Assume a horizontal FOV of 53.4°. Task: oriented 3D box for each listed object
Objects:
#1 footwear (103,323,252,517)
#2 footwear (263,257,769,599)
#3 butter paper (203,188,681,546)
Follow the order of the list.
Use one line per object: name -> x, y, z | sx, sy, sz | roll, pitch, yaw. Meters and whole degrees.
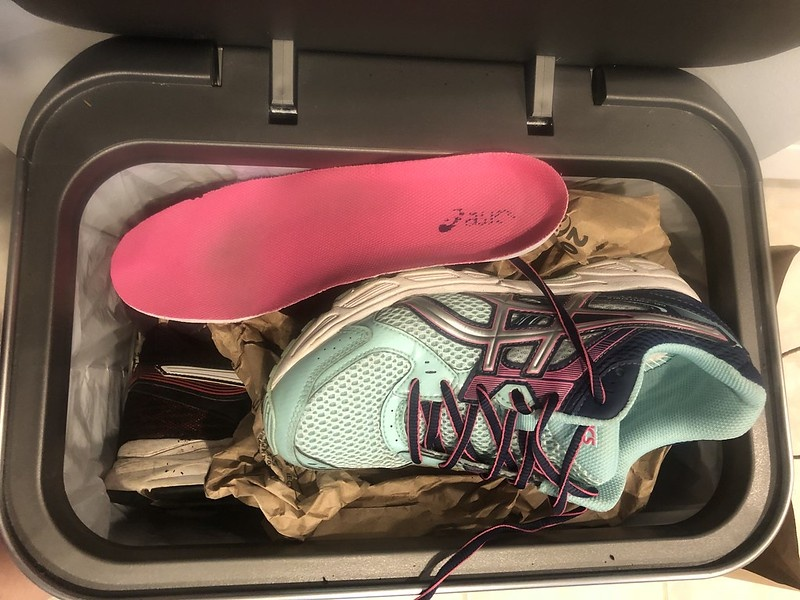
footwear -> -0.318, 0.175, 1.257 | 0.175, 0.129, 0.348 | 12, 82, 35
footwear -> 0.162, 0.153, 1.248 | 0.939, 0.330, 0.383 | -7, 34, -4
butter paper -> 0.065, 0.191, 1.391 | 0.722, 0.204, 0.439 | -8, 94, -8
